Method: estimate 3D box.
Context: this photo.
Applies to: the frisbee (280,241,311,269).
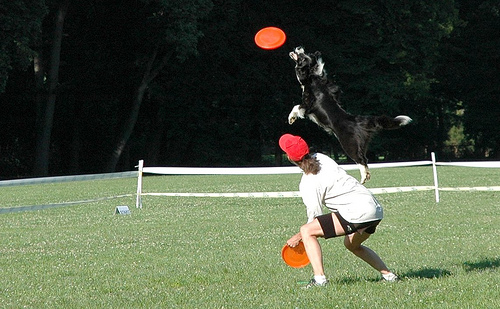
[{"bbox_3d":[1.155,2.340,12.670,0.108,0.654,0.629,-40,-51,21],"label":"frisbee"}]
